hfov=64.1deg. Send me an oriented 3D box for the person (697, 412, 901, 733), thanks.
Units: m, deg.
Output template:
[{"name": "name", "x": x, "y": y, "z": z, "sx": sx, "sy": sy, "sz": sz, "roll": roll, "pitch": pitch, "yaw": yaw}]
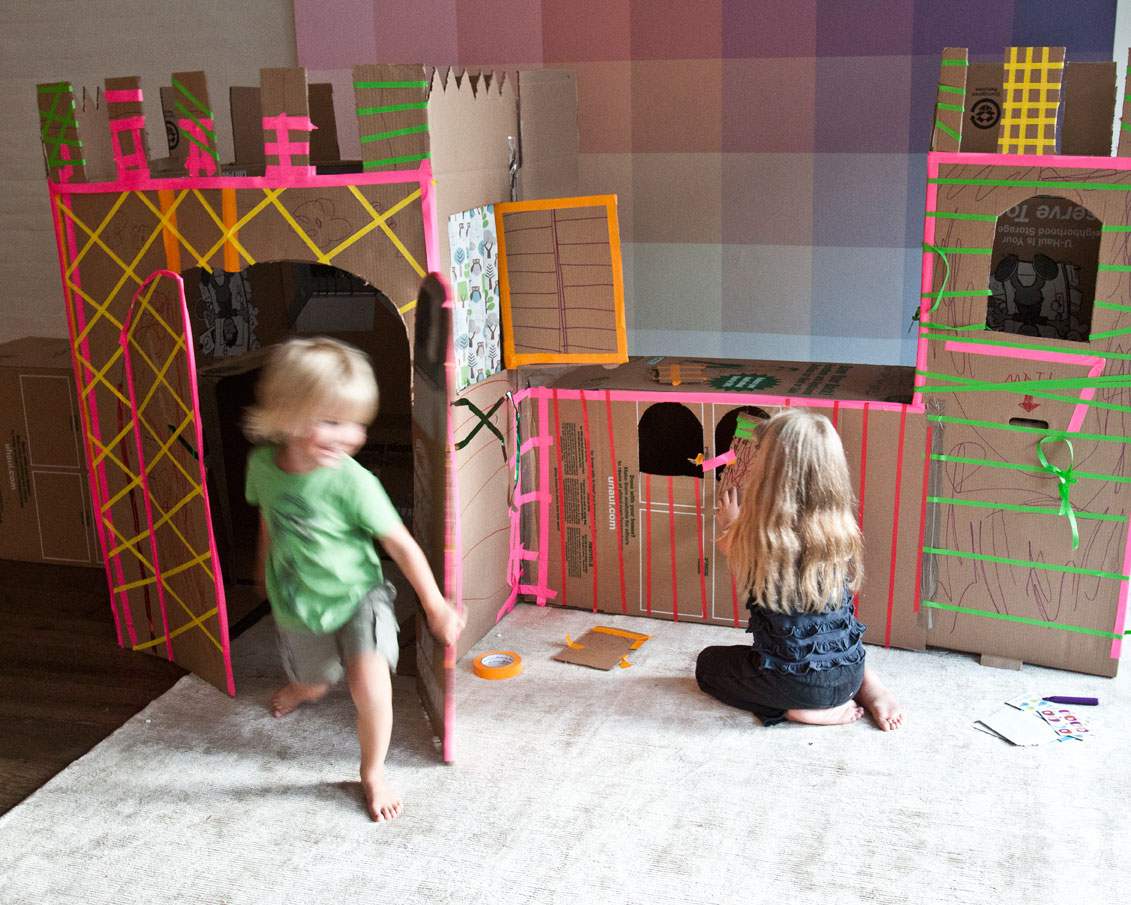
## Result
[{"name": "person", "x": 0.704, "y": 0.307, "z": 2.538, "sx": 0.541, "sy": 0.790, "sz": 0.633, "roll": -5, "pitch": 7, "yaw": -44}]
